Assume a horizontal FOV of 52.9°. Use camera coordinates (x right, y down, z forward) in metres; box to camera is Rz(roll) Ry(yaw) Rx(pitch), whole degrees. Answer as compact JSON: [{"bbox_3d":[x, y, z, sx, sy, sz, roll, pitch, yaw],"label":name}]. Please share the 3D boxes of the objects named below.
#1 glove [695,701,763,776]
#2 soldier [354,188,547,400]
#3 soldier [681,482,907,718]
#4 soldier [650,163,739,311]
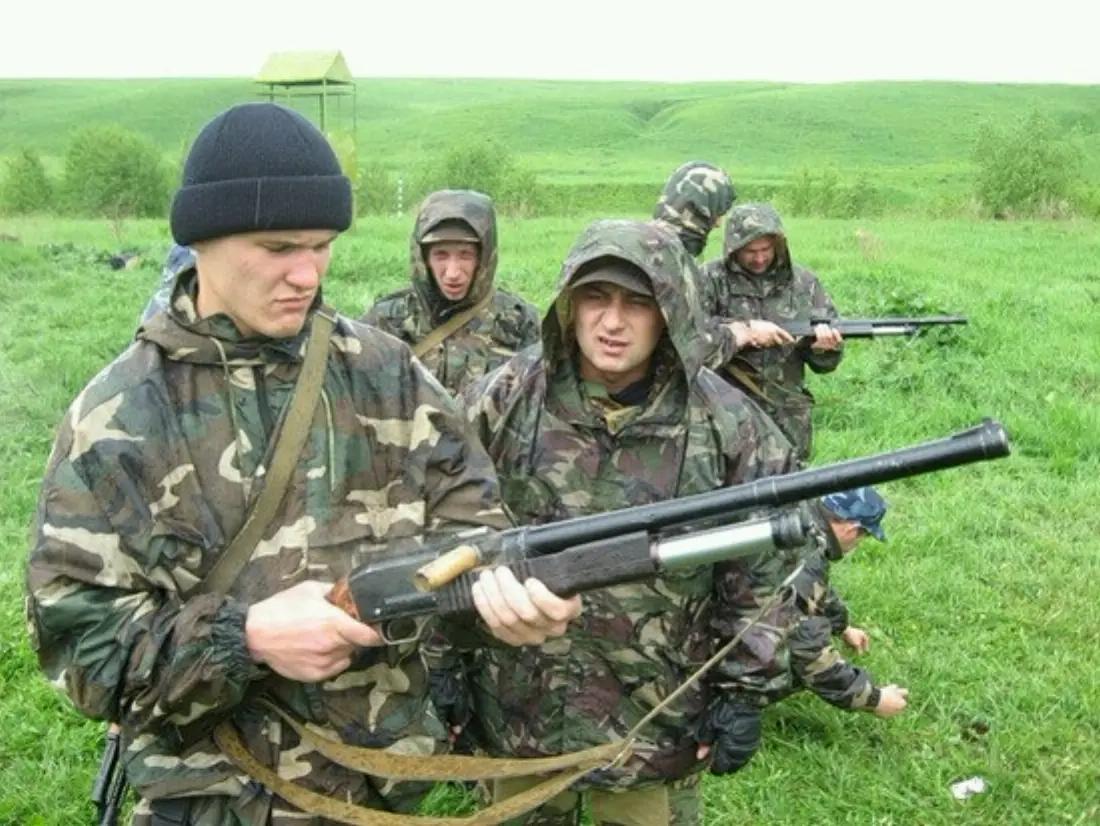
[{"bbox_3d":[0.854,1.515,5.279,0.275,0.387,0.166,8,0,39],"label":"glove"},{"bbox_3d":[-0.775,-0.850,8.298,1.634,1.506,0.912,0,4,-7],"label":"soldier"},{"bbox_3d":[1.260,1.026,5.713,0.933,1.708,0.815,-4,33,-6],"label":"soldier"},{"bbox_3d":[1.093,-1.604,8.860,0.666,0.826,0.808,11,22,-9],"label":"soldier"}]
